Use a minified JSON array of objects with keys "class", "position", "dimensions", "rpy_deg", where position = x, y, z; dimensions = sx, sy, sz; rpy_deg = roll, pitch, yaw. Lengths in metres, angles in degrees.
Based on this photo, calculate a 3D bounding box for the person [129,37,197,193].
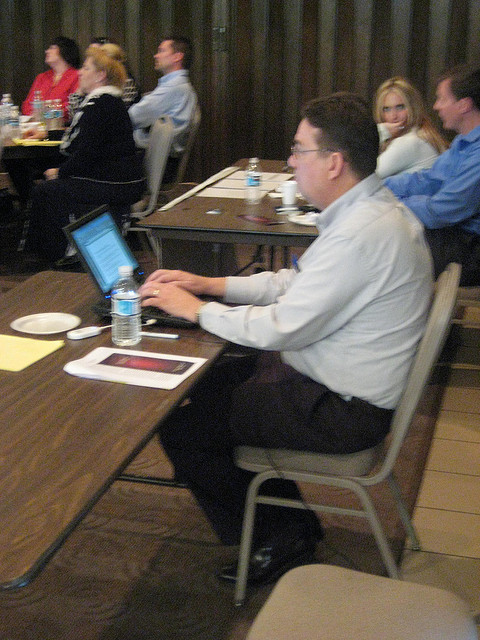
[{"class":"person","position":[-0.765,-1.787,5.366],"dimensions":[0.719,1.847,0.611],"rpy_deg":[0,34,-14]}]

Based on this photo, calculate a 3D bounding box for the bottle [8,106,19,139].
[{"class":"bottle","position":[-1.848,-1.594,4.369],"dimensions":[0.085,0.241,0.273],"rpy_deg":[-3,13,-22]}]

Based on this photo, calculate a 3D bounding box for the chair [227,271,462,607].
[{"class":"chair","position":[0.270,0.300,1.483],"dimensions":[0.509,0.929,0.694],"rpy_deg":[7,14,19]}]

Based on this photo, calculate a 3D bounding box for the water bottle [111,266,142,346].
[{"class":"water bottle","position":[-0.279,-0.049,1.321],"dimensions":[0.073,0.176,0.229],"rpy_deg":[0,12,-10]}]
